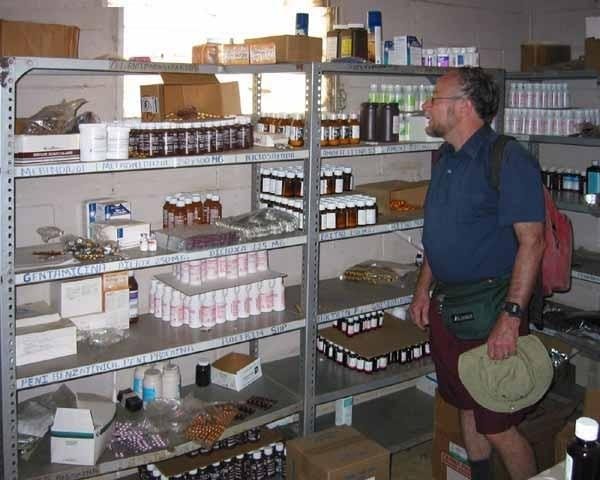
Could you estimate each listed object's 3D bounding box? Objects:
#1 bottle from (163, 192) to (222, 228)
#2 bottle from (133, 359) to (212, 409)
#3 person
[{"bbox_3d":[-0.590,-0.155,3.175,0.172,0.165,0.057,-7,14,-42],"label":"bottle"},{"bbox_3d":[-0.762,0.794,3.253,0.293,0.304,0.174,3,6,1],"label":"bottle"},{"bbox_3d":[0.870,0.214,2.829,0.324,2.060,0.622,-8,11,-25],"label":"person"}]
